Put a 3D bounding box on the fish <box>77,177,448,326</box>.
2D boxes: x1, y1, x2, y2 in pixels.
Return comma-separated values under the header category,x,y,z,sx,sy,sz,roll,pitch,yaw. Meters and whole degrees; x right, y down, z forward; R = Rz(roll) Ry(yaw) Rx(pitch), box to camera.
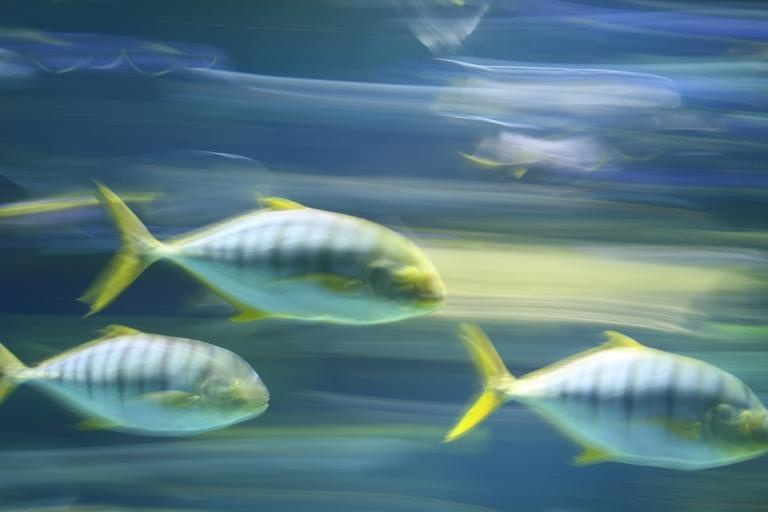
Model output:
category,x,y,z,sx,sy,sz,roll,pitch,yaw
fish,-0.235,0.028,1.907,0.711,0.241,0.198,8,48,4
